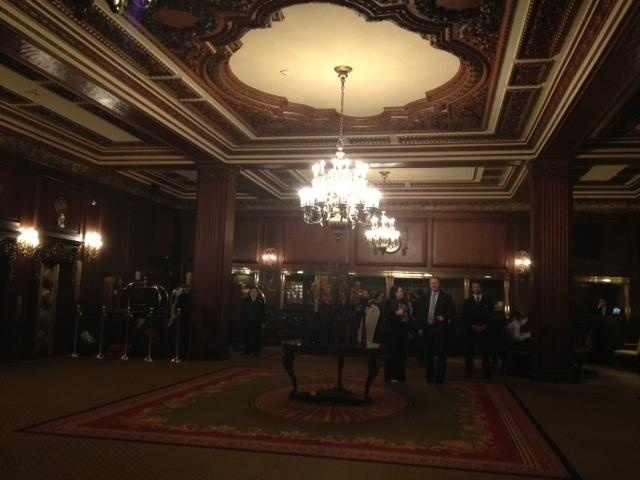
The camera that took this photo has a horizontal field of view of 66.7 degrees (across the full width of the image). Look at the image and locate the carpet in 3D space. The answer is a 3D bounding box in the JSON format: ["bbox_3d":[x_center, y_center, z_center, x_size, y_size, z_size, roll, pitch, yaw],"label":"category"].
[{"bbox_3d":[0.039,2.462,7.021,6.006,0.153,3.770,1,-4,12],"label":"carpet"}]

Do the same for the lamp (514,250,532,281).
[{"bbox_3d":[6.172,0.779,14.963,0.159,0.865,0.458,3,-4,-36],"label":"lamp"}]
